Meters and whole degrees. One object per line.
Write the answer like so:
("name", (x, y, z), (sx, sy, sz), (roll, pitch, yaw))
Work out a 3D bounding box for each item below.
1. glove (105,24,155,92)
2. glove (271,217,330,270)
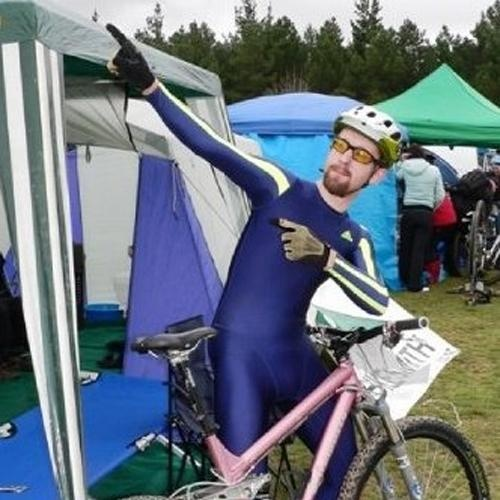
("glove", (-0.439, -0.694, 2.460), (0.169, 0.223, 0.199), (-2, 5, -9))
("glove", (0.172, -0.027, 2.429), (0.216, 0.136, 0.058), (29, -22, -34))
